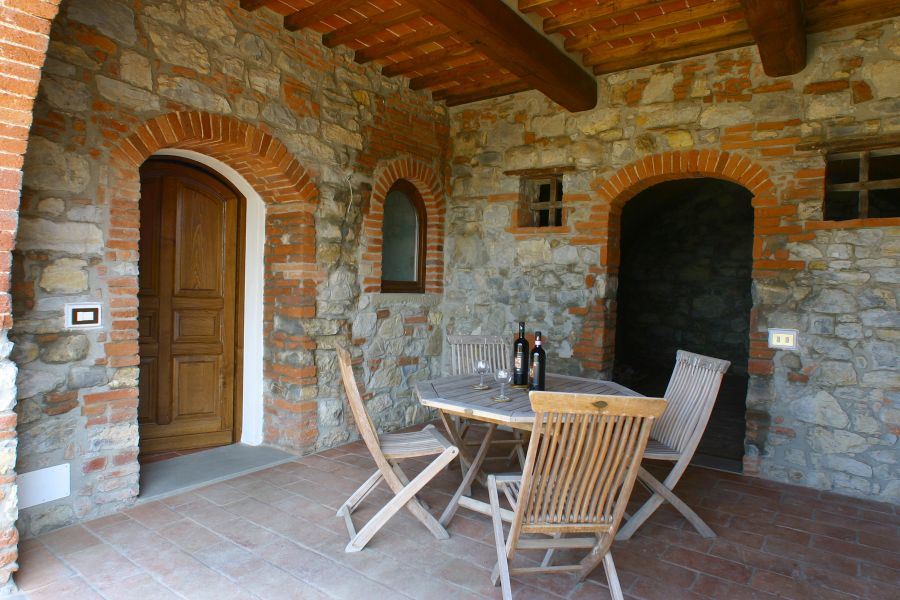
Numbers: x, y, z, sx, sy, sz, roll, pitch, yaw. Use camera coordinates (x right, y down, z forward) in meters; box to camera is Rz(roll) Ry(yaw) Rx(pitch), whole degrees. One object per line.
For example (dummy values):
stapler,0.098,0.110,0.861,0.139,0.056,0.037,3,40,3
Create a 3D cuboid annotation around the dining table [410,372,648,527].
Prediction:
dining table,0.463,0.981,4.343,1.342,0.819,1.302,4,5,-8
